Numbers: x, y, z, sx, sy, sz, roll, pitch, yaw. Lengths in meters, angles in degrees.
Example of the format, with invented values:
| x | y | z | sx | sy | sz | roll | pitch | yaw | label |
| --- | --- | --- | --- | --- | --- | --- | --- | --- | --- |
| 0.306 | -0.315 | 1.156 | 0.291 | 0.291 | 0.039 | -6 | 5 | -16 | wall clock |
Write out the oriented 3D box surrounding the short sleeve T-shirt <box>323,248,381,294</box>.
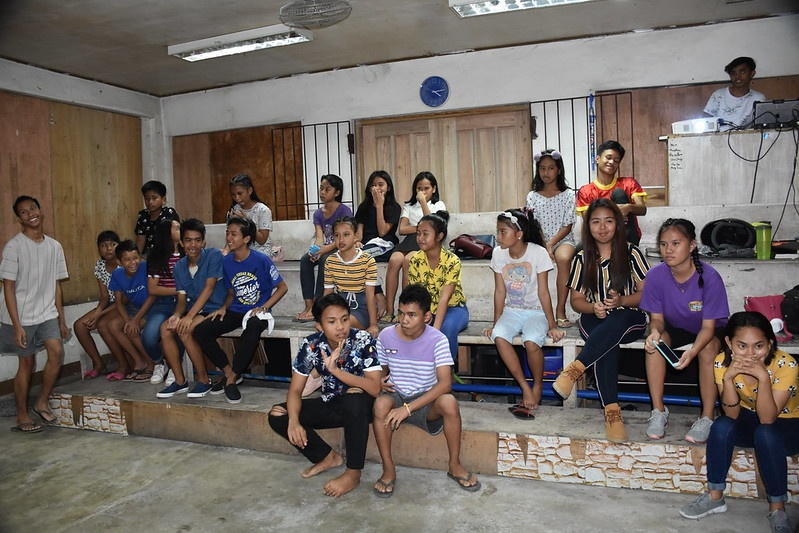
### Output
| x | y | z | sx | sy | sz | roll | pitch | yaw | label |
| --- | --- | --- | --- | --- | --- | --- | --- | --- | --- |
| -0.392 | 0.069 | 5.609 | 0.719 | 0.557 | 0.351 | 0 | 2 | 6 | short sleeve T-shirt |

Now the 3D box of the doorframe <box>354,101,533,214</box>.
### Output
| x | y | z | sx | sy | sz | roll | pitch | yaw | label |
| --- | --- | --- | --- | --- | --- | --- | --- | --- | --- |
| 0.665 | -1.418 | 7.581 | 1.861 | 1.305 | 0.181 | 0 | 1 | 12 | doorframe |

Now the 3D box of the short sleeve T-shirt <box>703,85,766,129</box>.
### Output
| x | y | z | sx | sy | sz | roll | pitch | yaw | label |
| --- | --- | --- | --- | --- | --- | --- | --- | --- | --- |
| 3.703 | -1.737 | 6.599 | 0.594 | 0.466 | 0.293 | 4 | 2 | 2 | short sleeve T-shirt |

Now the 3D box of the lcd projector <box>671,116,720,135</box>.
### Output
| x | y | z | sx | sy | sz | roll | pitch | yaw | label |
| --- | --- | --- | --- | --- | --- | --- | --- | --- | --- |
| 3.046 | -1.453 | 6.135 | 0.425 | 0.146 | 0.128 | 2 | 7 | 28 | lcd projector |

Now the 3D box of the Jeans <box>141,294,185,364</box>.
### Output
| x | y | z | sx | sy | sz | roll | pitch | yaw | label |
| --- | --- | --- | --- | --- | --- | --- | --- | --- | --- |
| -2.336 | 0.650 | 5.861 | 0.395 | 0.702 | 0.217 | -7 | -7 | -3 | Jeans |

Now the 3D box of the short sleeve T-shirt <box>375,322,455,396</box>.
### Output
| x | y | z | sx | sy | sz | roll | pitch | yaw | label |
| --- | --- | --- | --- | --- | --- | --- | --- | --- | --- |
| 0.106 | 0.682 | 4.585 | 0.647 | 0.556 | 0.304 | 3 | 10 | 25 | short sleeve T-shirt |

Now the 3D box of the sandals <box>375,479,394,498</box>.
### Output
| x | y | z | sx | sy | sz | roll | pitch | yaw | label |
| --- | --- | --- | --- | --- | --- | --- | --- | --- | --- |
| -0.120 | 1.633 | 4.354 | 0.135 | 0.103 | 0.082 | -2 | 6 | -4 | sandals |

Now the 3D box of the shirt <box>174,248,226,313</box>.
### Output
| x | y | z | sx | sy | sz | roll | pitch | yaw | label |
| --- | --- | --- | --- | --- | --- | --- | --- | --- | --- |
| -1.911 | 0.141 | 5.697 | 0.516 | 0.593 | 0.345 | -9 | 12 | 13 | shirt |

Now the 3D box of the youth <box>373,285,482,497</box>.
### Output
| x | y | z | sx | sy | sz | roll | pitch | yaw | label |
| --- | --- | --- | --- | --- | --- | --- | --- | --- | --- |
| 0.142 | 0.893 | 4.464 | 0.726 | 1.522 | 0.436 | -2 | 7 | -4 | youth |

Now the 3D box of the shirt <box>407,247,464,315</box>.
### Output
| x | y | z | sx | sy | sz | roll | pitch | yaw | label |
| --- | --- | --- | --- | --- | --- | --- | --- | --- | --- |
| 0.292 | 0.114 | 5.333 | 0.469 | 0.502 | 0.368 | -5 | 19 | -10 | shirt |

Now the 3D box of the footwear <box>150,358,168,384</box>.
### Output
| x | y | z | sx | sy | sz | roll | pitch | yaw | label |
| --- | --- | --- | --- | --- | --- | --- | --- | --- | --- |
| -2.339 | 1.037 | 5.782 | 0.100 | 0.124 | 0.290 | 5 | 6 | -8 | footwear |

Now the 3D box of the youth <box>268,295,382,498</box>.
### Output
| x | y | z | sx | sy | sz | roll | pitch | yaw | label |
| --- | --- | --- | --- | --- | --- | --- | --- | --- | --- |
| -0.559 | 0.931 | 4.558 | 0.823 | 1.468 | 0.493 | 2 | 8 | 29 | youth |

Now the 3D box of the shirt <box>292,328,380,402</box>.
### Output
| x | y | z | sx | sy | sz | roll | pitch | yaw | label |
| --- | --- | --- | --- | --- | --- | --- | --- | --- | --- |
| -0.473 | 0.774 | 4.592 | 0.721 | 0.567 | 0.373 | -2 | 2 | 11 | shirt |

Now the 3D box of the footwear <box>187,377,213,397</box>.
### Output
| x | y | z | sx | sy | sz | roll | pitch | yaw | label |
| --- | --- | --- | --- | --- | --- | --- | --- | --- | --- |
| -1.822 | 1.126 | 5.393 | 0.098 | 0.090 | 0.228 | -2 | -5 | 15 | footwear |

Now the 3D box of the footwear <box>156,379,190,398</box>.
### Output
| x | y | z | sx | sy | sz | roll | pitch | yaw | label |
| --- | --- | --- | --- | --- | --- | --- | --- | --- | --- |
| -2.077 | 1.124 | 5.472 | 0.114 | 0.106 | 0.296 | -1 | -1 | 37 | footwear |

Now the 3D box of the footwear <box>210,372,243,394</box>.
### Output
| x | y | z | sx | sy | sz | roll | pitch | yaw | label |
| --- | --- | --- | --- | --- | --- | --- | --- | --- | --- |
| -1.611 | 1.095 | 5.477 | 0.341 | 0.134 | 0.135 | -25 | -37 | 15 | footwear |

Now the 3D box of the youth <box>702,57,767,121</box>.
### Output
| x | y | z | sx | sy | sz | roll | pitch | yaw | label |
| --- | --- | --- | --- | --- | --- | --- | --- | --- | --- |
| 3.652 | -1.913 | 6.503 | 0.552 | 0.698 | 0.264 | 2 | 8 | 29 | youth |

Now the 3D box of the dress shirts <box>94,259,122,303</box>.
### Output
| x | y | z | sx | sy | sz | roll | pitch | yaw | label |
| --- | --- | --- | --- | --- | --- | --- | --- | --- | --- |
| -3.134 | 0.146 | 6.311 | 0.349 | 0.452 | 0.181 | 0 | -6 | 0 | dress shirts |

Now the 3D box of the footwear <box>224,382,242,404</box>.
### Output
| x | y | z | sx | sy | sz | roll | pitch | yaw | label |
| --- | --- | --- | --- | --- | --- | --- | --- | --- | --- |
| -1.456 | 1.111 | 5.209 | 0.137 | 0.145 | 0.153 | -4 | 7 | -16 | footwear |

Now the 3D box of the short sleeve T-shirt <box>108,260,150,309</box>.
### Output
| x | y | z | sx | sy | sz | roll | pitch | yaw | label |
| --- | --- | --- | --- | --- | --- | --- | --- | --- | --- |
| -2.687 | 0.212 | 6.097 | 0.524 | 0.510 | 0.199 | -5 | 13 | -1 | short sleeve T-shirt |
